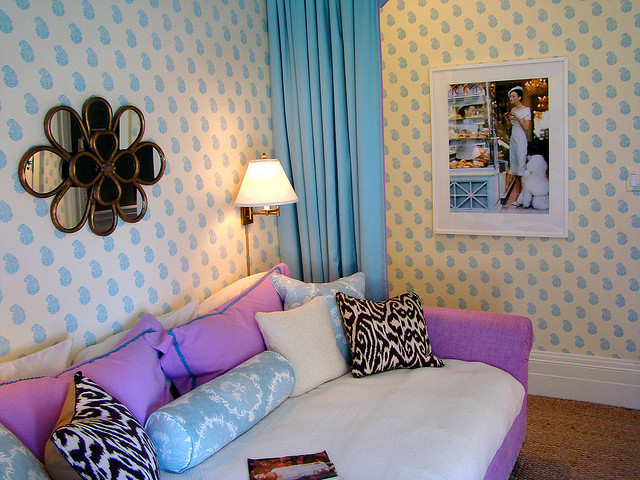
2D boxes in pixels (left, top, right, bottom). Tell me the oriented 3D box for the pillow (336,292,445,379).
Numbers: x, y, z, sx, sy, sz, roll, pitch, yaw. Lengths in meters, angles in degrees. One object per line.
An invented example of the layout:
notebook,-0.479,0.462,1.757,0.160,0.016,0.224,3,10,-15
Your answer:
pillow,0.391,0.549,2.748,0.521,0.429,0.334,-4,4,-10

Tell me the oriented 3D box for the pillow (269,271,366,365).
pillow,-0.018,0.460,2.684,0.382,0.401,0.177,-9,10,-37

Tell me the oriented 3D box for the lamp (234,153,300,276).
lamp,-0.384,-0.148,3.172,0.389,0.816,0.475,-6,11,-24

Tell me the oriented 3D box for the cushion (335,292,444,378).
cushion,0.389,0.545,2.743,0.524,0.434,0.371,-4,1,-15

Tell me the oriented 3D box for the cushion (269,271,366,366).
cushion,-0.019,0.462,2.683,0.383,0.405,0.187,-10,11,-38

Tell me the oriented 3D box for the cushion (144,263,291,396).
cushion,-0.473,0.517,2.749,0.316,0.395,0.996,-6,11,28

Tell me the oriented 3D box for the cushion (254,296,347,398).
cushion,-0.050,0.602,2.661,0.261,0.470,0.475,-9,1,45

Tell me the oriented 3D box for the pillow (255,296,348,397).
pillow,-0.058,0.603,2.661,0.488,0.476,0.262,-10,0,-41
